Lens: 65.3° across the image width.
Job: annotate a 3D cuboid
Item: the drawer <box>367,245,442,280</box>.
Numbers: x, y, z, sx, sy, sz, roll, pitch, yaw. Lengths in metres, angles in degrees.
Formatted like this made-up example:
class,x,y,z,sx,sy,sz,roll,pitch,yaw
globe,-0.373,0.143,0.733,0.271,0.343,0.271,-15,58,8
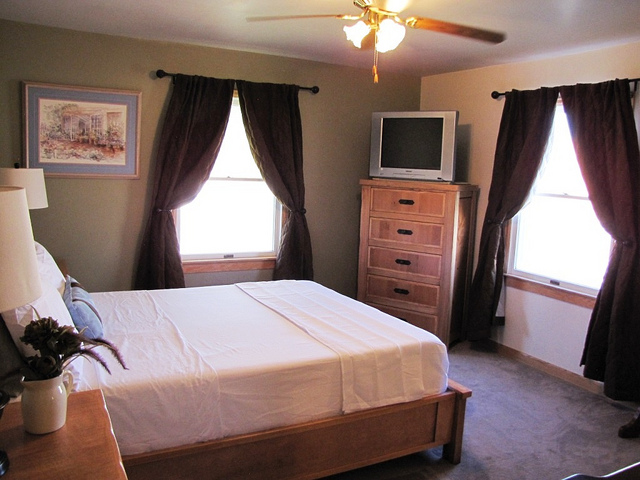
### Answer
class,x,y,z,sx,sy,sz,roll,pitch,yaw
drawer,0.866,0.200,5.038,0.693,0.310,0.413,9,7,43

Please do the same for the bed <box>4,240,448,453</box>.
class,x,y,z,sx,sy,sz,roll,pitch,yaw
bed,-0.335,0.661,3.024,1.851,0.753,1.467,-5,10,-28

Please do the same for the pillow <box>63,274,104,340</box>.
class,x,y,z,sx,sy,sz,roll,pitch,yaw
pillow,-1.427,0.397,3.006,0.177,0.303,0.377,1,8,-16

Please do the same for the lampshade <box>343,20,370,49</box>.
class,x,y,z,sx,sy,sz,roll,pitch,yaw
lampshade,0.239,-1.352,3.221,0.152,0.162,0.288,3,10,-3

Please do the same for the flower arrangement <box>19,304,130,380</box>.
class,x,y,z,sx,sy,sz,roll,pitch,yaw
flower arrangement,-0.969,0.338,2.083,0.244,0.327,0.652,-1,7,-25

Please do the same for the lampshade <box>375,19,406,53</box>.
class,x,y,z,sx,sy,sz,roll,pitch,yaw
lampshade,0.434,-1.293,3.097,0.159,0.194,0.239,4,10,3

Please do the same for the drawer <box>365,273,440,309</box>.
class,x,y,z,sx,sy,sz,roll,pitch,yaw
drawer,1.029,0.511,5.304,0.939,0.329,0.700,7,4,39

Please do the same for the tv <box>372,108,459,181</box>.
class,x,y,z,sx,sy,sz,roll,pitch,yaw
tv,0.965,-0.959,5.007,0.673,0.597,0.372,4,6,35

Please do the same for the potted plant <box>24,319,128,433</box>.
class,x,y,z,sx,sy,sz,roll,pitch,yaw
potted plant,-1.003,0.543,2.023,0.403,0.425,0.389,2,-4,16

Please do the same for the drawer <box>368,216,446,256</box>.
class,x,y,z,sx,sy,sz,roll,pitch,yaw
drawer,0.876,-0.061,4.967,0.665,0.313,0.366,6,1,36
